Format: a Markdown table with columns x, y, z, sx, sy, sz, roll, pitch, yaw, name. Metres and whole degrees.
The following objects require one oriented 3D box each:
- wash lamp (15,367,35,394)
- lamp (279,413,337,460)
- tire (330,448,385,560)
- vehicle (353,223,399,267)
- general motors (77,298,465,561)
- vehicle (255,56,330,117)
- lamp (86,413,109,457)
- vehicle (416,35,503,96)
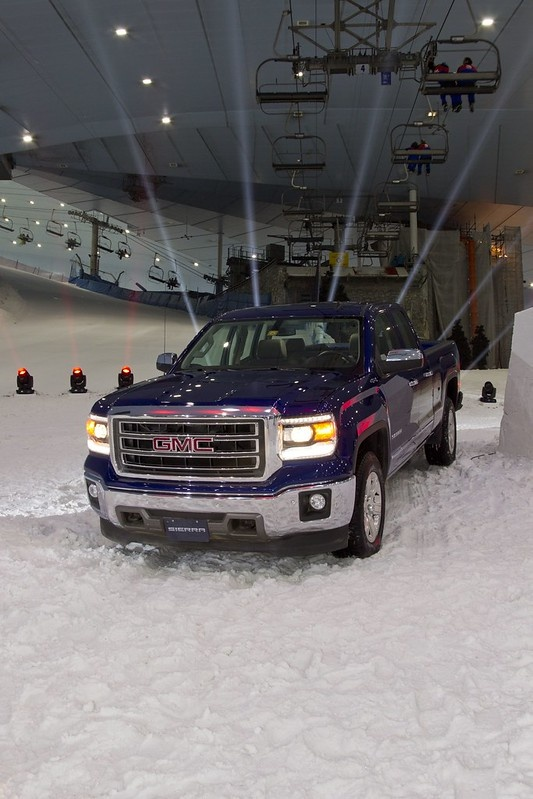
| x | y | z | sx | sy | sz | roll | pitch | yaw | name |
| --- | --- | --- | --- | --- | --- | --- | --- | --- | --- |
| -6.611 | -0.483 | 15.257 | 0.457 | 0.714 | 0.506 | -3 | 3 | -24 | wash lamp |
| 0.244 | 0.233 | 3.385 | 0.312 | 0.238 | 0.115 | -2 | -1 | -8 | lamp |
| 0.585 | 0.704 | 3.653 | 0.204 | 0.614 | 0.623 | -2 | -28 | 18 | tire |
| 6.645 | -9.499 | 33.996 | 2.435 | 1.726 | 4.450 | 0 | 11 | 8 | vehicle |
| 0.302 | 0.070 | 4.758 | 1.748 | 1.303 | 3.237 | -2 | 3 | 20 | general motors |
| 0.842 | -8.983 | 15.828 | 2.097 | 1.447 | 1.157 | 9 | 25 | 11 | vehicle |
| -1.149 | 0.259 | 3.943 | 0.209 | 0.283 | 0.114 | 0 | -2 | 34 | lamp |
| 4.661 | -8.159 | 13.504 | 1.759 | 1.234 | 1.625 | 5 | 30 | 15 | vehicle |
